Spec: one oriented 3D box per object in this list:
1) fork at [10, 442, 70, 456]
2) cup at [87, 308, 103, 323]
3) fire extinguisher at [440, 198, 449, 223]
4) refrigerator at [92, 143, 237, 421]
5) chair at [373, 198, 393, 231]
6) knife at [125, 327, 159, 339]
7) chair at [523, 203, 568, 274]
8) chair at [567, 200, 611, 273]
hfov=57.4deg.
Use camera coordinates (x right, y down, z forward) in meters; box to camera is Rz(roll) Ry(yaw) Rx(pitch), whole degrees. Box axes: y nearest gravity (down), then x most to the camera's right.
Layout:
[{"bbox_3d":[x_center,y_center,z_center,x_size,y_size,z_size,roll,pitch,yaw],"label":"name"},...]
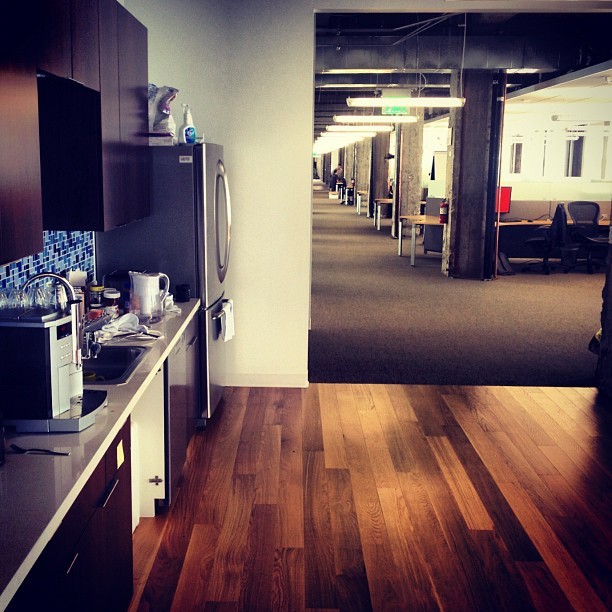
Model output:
[{"bbox_3d":[-0.693,0.375,1.451,0.187,0.008,0.037,4,13,15],"label":"fork"},{"bbox_3d":[-1.083,0.045,2.871,0.035,0.082,0.039,10,19,16],"label":"cup"},{"bbox_3d":[2.274,-1.607,9.279,0.118,0.406,0.562,2,12,11],"label":"fire extinguisher"},{"bbox_3d":[-0.855,-0.184,3.926,0.606,1.741,0.871,2,8,-2],"label":"refrigerator"},{"bbox_3d":[2.304,-2.682,16.115,0.724,0.895,1.207,0,12,3],"label":"chair"},{"bbox_3d":[-0.781,0.122,2.636,0.096,0.012,0.015,20,45,18],"label":"knife"},{"bbox_3d":[4.176,-1.205,9.798,0.602,1.235,0.638,6,9,42],"label":"chair"},{"bbox_3d":[5.036,-1.289,10.079,0.690,1.240,1.581,5,12,27],"label":"chair"}]
